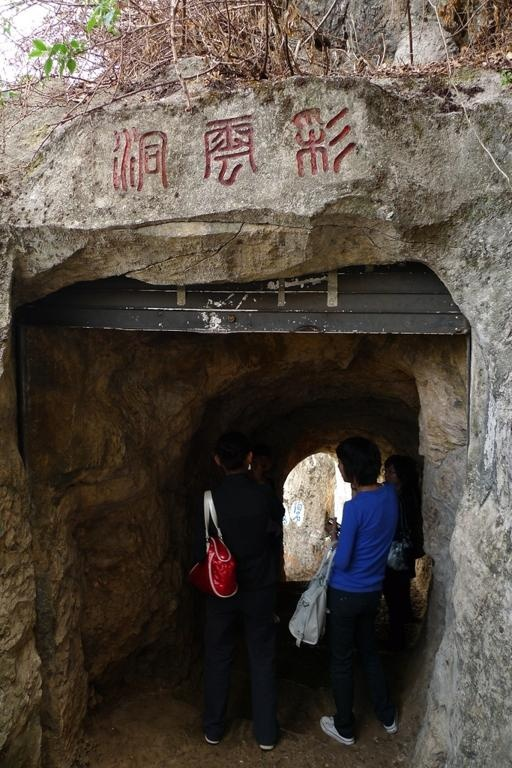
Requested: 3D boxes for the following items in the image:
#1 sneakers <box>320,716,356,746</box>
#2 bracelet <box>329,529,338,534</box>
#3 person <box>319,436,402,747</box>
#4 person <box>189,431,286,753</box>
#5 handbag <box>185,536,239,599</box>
[{"bbox_3d":[0.340,1.468,3.170,0.067,0.081,0.173,11,1,-28],"label":"sneakers"},{"bbox_3d":[0.333,0.626,3.148,0.022,0.008,0.030,18,0,-24],"label":"bracelet"},{"bbox_3d":[0.432,0.863,2.951,0.308,1.315,0.497,2,-1,6],"label":"person"},{"bbox_3d":[-0.074,0.861,3.071,0.326,1.333,0.508,1,-1,31],"label":"person"},{"bbox_3d":[-0.163,0.696,2.901,0.145,0.230,0.229,5,5,-28],"label":"handbag"}]
